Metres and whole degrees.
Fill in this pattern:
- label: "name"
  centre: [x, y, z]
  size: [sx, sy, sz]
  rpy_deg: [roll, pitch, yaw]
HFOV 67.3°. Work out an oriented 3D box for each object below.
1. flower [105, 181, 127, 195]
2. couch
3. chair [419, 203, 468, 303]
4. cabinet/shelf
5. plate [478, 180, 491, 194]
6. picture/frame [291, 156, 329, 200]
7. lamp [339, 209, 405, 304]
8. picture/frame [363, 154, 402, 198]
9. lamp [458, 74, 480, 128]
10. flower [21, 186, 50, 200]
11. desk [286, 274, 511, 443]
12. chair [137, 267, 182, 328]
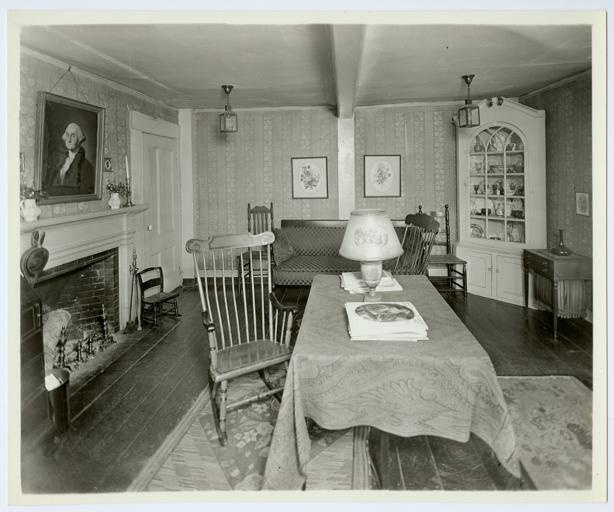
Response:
- label: "flower"
  centre: [-2.047, -0.732, 4.912]
  size: [0.154, 0.091, 0.236]
  rpy_deg: [-3, 9, -34]
- label: "couch"
  centre: [0.453, 0.057, 6.396]
  size: [1.841, 1.073, 0.803]
  rpy_deg: [1, 12, 1]
- label: "chair"
  centre: [1.736, 0.014, 6.260]
  size: [0.656, 1.305, 0.760]
  rpy_deg: [-12, -4, 33]
- label: "cabinet/shelf"
  centre: [2.391, -0.708, 5.887]
  size: [1.067, 2.643, 0.420]
  rpy_deg: [6, 16, 39]
- label: "plate"
  centre: [2.319, -0.912, 6.046]
  size: [0.115, 0.163, 0.160]
  rpy_deg: [0, -3, 14]
- label: "picture/frame"
  centre: [0.057, -1.215, 6.991]
  size: [0.603, 0.737, 0.030]
  rpy_deg: [0, 0, 1]
- label: "lamp"
  centre: [0.408, -0.038, 3.004]
  size: [0.461, 0.623, 0.491]
  rpy_deg: [6, 10, 34]
- label: "picture/frame"
  centre: [1.143, -1.236, 6.888]
  size: [0.589, 0.672, 0.043]
  rpy_deg: [0, 0, 2]
- label: "lamp"
  centre: [1.897, -1.807, 5.325]
  size: [0.317, 0.526, 0.334]
  rpy_deg: [-12, 25, 7]
- label: "flower"
  centre: [-2.190, -0.491, 3.682]
  size: [0.126, 0.079, 0.127]
  rpy_deg: [-2, 3, -25]
- label: "desk"
  centre: [0.459, 0.545, 2.589]
  size: [0.994, 0.411, 1.236]
  rpy_deg: [0, 14, 8]
- label: "chair"
  centre: [-1.754, 0.402, 5.450]
  size: [0.446, 0.685, 0.983]
  rpy_deg: [-5, 14, -16]
